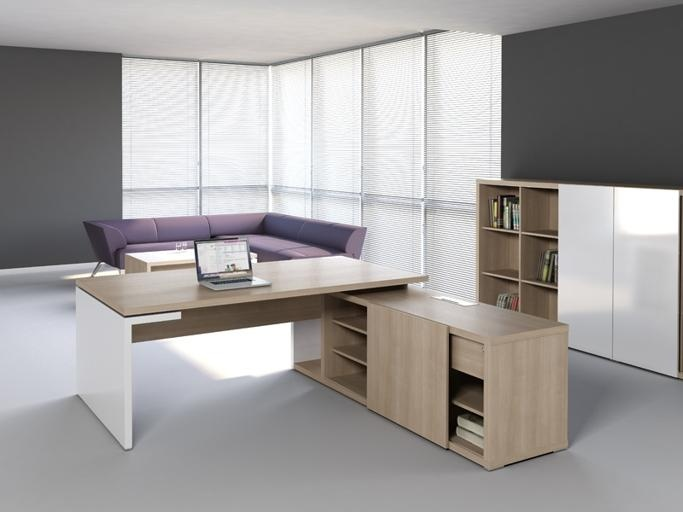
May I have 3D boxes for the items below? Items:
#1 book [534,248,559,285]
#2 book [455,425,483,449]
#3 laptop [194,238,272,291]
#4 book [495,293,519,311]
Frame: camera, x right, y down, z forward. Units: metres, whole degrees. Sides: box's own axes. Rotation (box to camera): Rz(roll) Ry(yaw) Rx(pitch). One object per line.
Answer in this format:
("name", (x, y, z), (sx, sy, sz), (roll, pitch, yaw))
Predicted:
("book", (2.185, 0.116, 5.241), (0.226, 0.347, 0.386), (0, 6, -8))
("book", (0.766, 1.080, 2.934), (0.032, 0.041, 0.174), (4, 4, -26))
("laptop", (-0.806, 0.063, 3.468), (0.493, 0.373, 0.332), (-1, 1, -27))
("book", (1.802, 0.499, 5.331), (0.286, 0.241, 0.153), (0, 3, -23))
